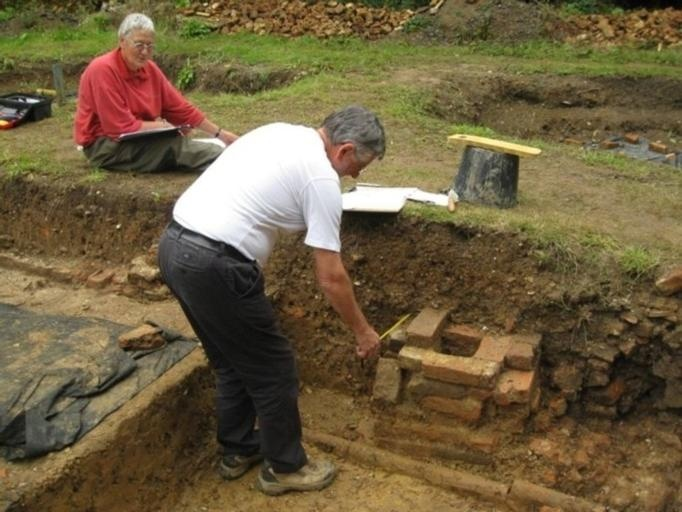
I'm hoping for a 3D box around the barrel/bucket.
[{"bbox_3d":[1.457,-0.791,7.657,0.623,0.567,0.276,5,23,9],"label":"barrel/bucket"}]
